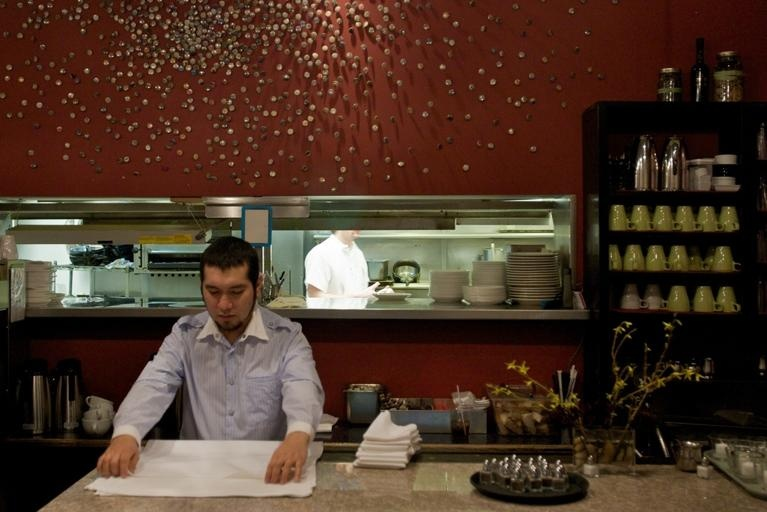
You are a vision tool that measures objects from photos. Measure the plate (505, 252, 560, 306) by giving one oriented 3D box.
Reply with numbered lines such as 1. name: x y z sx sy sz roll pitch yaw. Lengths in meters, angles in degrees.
1. plate: 1.059 0.165 5.198 0.385 0.326 0.381 0 0 -9

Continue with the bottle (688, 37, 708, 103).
1. bottle: 2.179 -1.261 4.857 0.118 0.489 0.280 -3 -5 24

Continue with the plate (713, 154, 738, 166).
1. plate: 2.318 -0.646 4.763 0.094 0.040 0.095 -2 -3 33

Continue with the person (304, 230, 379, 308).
1. person: -0.371 0.120 6.419 0.529 0.841 0.920 -1 0 37

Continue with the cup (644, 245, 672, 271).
1. cup: 1.865 0.016 4.765 0.133 0.168 0.178 -2 -4 25

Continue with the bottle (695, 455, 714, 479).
1. bottle: 1.665 1.112 3.707 0.086 0.128 0.092 4 -4 0

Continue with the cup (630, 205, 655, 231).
1. cup: 1.788 -0.255 4.814 0.207 0.181 0.106 2 -5 -34

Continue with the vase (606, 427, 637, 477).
1. vase: 1.269 1.028 3.697 0.177 0.231 0.063 0 -4 -15

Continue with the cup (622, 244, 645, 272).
1. cup: 1.703 0.018 4.793 0.134 0.170 0.178 3 6 21

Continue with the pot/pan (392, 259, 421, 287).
1. pot/pan: 0.230 0.171 7.275 0.225 0.266 0.115 2 -12 2

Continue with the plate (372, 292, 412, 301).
1. plate: 0.067 0.311 5.372 0.239 0.073 0.181 -1 -5 -6

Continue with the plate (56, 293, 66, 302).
1. plate: -2.425 0.318 5.285 0.066 0.062 0.064 -1 18 -30

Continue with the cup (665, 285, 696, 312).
1. cup: 2.028 0.293 4.795 0.228 0.185 0.101 1 -5 -25

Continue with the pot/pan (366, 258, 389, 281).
1. pot/pan: -0.039 0.139 7.334 0.215 0.204 0.214 -2 -2 42

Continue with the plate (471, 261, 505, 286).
1. plate: 0.758 0.127 5.156 0.190 0.142 0.192 -1 -2 28

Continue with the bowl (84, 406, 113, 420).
1. bowl: -1.966 1.082 4.847 0.110 0.056 0.108 0 -15 0

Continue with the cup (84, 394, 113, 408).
1. cup: -2.001 1.015 4.941 0.157 0.110 0.119 2 -2 -2

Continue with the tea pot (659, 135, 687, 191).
1. tea pot: 1.985 -0.621 4.798 0.189 0.388 0.117 -2 -4 8

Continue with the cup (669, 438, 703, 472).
1. cup: 1.601 1.040 3.727 0.151 0.145 0.153 0 -1 0

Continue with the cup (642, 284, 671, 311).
1. cup: 1.845 0.280 4.801 0.126 0.168 0.198 0 -13 3

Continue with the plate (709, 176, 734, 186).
1. plate: 2.301 -0.505 4.752 0.154 0.082 0.095 -3 -5 20

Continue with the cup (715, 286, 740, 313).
1. cup: 2.319 0.296 4.750 0.118 0.162 0.188 -1 7 21

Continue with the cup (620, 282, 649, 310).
1. cup: 1.722 0.286 4.890 0.188 0.160 0.119 1 -3 2

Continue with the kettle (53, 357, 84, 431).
1. kettle: -2.218 0.982 4.958 0.181 0.494 0.141 0 -4 -14

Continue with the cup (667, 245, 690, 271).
1. cup: 1.995 0.022 4.841 0.130 0.166 0.174 0 -6 3

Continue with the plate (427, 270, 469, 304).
1. plate: 0.479 0.233 5.197 0.251 0.198 0.247 3 -3 -23

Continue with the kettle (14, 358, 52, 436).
1. kettle: -2.474 0.984 4.922 0.293 0.502 0.143 -3 -5 22

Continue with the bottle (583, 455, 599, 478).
1. bottle: 1.092 1.098 3.683 0.078 0.108 0.048 -3 -5 19

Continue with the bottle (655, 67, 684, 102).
1. bottle: 1.979 -1.183 4.867 0.155 0.254 0.100 -3 -4 20

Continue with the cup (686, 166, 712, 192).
1. cup: 2.141 -0.520 4.753 0.173 0.184 0.172 -1 1 0

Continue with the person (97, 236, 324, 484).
1. person: -0.831 0.539 4.277 1.200 1.981 1.277 2 -1 -2

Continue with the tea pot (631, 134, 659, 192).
1. tea pot: 1.790 -0.628 4.798 0.157 0.380 0.091 -2 -4 12

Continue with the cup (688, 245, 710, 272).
1. cup: 2.163 0.020 4.830 0.119 0.185 0.189 -1 2 -25
